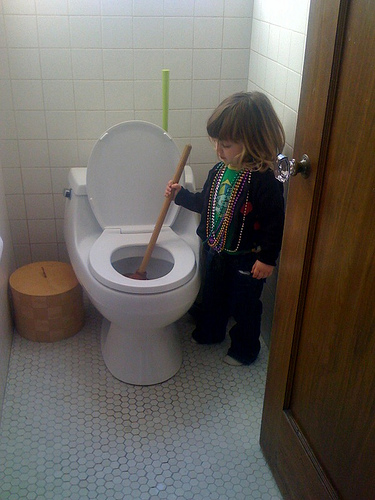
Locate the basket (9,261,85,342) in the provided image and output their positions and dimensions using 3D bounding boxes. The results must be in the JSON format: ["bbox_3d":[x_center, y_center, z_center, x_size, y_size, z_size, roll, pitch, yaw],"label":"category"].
[{"bbox_3d":[-0.635,0.248,1.585,0.277,0.272,0.296,-22,39,-39],"label":"basket"}]

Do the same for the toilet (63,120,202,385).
[{"bbox_3d":[-0.232,0.006,1.476,0.424,0.953,0.757,-4,22,-18],"label":"toilet"}]

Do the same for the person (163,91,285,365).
[{"bbox_3d":[0.158,-0.052,1.355,0.345,1.043,0.243,14,28,28],"label":"person"}]

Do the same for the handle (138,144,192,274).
[{"bbox_3d":[-0.105,-0.172,1.463,0.030,0.572,0.032,8,5,-37],"label":"handle"}]
